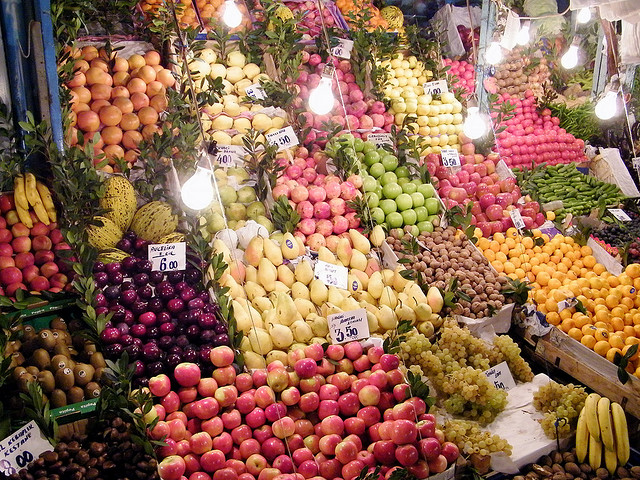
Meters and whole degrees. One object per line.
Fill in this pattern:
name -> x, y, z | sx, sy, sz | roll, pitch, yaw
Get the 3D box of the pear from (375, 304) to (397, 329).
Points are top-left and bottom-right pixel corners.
pear -> 0.532, 0.617, 3.964 | 0.160, 0.186, 0.159 | -9, 10, 30

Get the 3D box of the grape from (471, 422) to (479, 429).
grape -> 1.112, 1.331, 3.548 | 0.039, 0.043, 0.076 | -9, 10, 29

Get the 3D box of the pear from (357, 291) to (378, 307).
pear -> 0.396, 0.483, 4.127 | 0.067, 0.176, 0.090 | -53, 4, 21

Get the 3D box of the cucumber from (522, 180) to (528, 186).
cucumber -> 2.449, -0.686, 5.920 | 0.051, 0.052, 0.014 | 31, -3, 38

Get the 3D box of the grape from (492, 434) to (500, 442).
grape -> 1.243, 1.387, 3.489 | 0.041, 0.055, 0.106 | -10, 10, 22

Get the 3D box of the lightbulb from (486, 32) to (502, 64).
lightbulb -> 1.933, -2.152, 5.533 | 0.168, 0.338, 0.330 | -10, 10, 23

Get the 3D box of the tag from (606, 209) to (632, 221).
tag -> 3.547, -0.299, 5.885 | 0.203, 0.229, 0.031 | -3, -49, -40

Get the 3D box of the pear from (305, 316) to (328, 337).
pear -> -0.023, 0.653, 3.819 | 0.110, 0.122, 0.148 | -33, 48, -12

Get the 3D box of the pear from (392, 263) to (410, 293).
pear -> 0.696, 0.319, 4.272 | 0.114, 0.197, 0.112 | 16, -18, -22

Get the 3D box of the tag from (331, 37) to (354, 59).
tag -> 0.257, -2.137, 5.536 | 0.253, 0.258, 0.068 | 8, 1, -18

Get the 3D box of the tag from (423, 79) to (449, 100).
tag -> 1.337, -1.767, 5.750 | 0.268, 0.187, 0.138 | -12, 9, 13

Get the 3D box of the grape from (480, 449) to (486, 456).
grape -> 1.121, 1.464, 3.402 | 0.030, 0.039, 0.033 | 1, -16, -7

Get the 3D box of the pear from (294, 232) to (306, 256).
pear -> -0.177, 0.044, 4.268 | 0.068, 0.158, 0.069 | -8, -10, -5

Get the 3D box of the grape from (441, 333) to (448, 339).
grape -> 0.993, 0.771, 3.981 | 0.023, 0.033, 0.024 | 14, 11, 21

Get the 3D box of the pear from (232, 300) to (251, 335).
pear -> -0.589, 0.578, 3.744 | 0.103, 0.241, 0.099 | -16, -18, -27

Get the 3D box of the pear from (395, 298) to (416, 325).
pear -> 0.693, 0.606, 4.033 | 0.181, 0.218, 0.129 | -15, 9, -10

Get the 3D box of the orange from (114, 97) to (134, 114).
orange -> -1.753, -1.210, 4.421 | 0.151, 0.144, 0.080 | -37, -10, -42

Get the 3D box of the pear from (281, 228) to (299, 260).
pear -> -0.263, 0.030, 4.192 | 0.100, 0.234, 0.110 | -13, -11, 35

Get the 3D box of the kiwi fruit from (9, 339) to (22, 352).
kiwi fruit -> -1.965, 0.681, 3.191 | 0.047, 0.048, 0.050 | -12, 10, 6

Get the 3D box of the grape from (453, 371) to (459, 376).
grape -> 1.029, 1.010, 3.743 | 0.043, 0.027, 0.024 | -12, 9, 17

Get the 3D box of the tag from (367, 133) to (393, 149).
tag -> 0.645, -1.077, 5.292 | 0.276, 0.171, 0.118 | -21, 11, -37

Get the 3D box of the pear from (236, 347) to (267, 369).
pear -> -0.469, 0.854, 3.568 | 0.156, 0.106, 0.107 | -14, 9, 1

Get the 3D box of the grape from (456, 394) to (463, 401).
grape -> 1.047, 1.184, 3.722 | 0.047, 0.046, 0.025 | -12, 8, 12

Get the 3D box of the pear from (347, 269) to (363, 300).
pear -> 0.279, 0.380, 4.100 | 0.094, 0.202, 0.062 | -12, -22, 5

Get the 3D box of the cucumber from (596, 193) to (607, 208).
cucumber -> 3.365, -0.465, 5.910 | 0.045, 0.213, 0.022 | 14, -18, 48

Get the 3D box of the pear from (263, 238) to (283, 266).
pear -> -0.395, 0.103, 4.174 | 0.114, 0.235, 0.120 | -32, -11, 26

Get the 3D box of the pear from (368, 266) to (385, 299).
pear -> 0.461, 0.371, 4.155 | 0.101, 0.209, 0.100 | -8, -8, -35

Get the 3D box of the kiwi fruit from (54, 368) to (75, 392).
kiwi fruit -> -1.608, 0.876, 3.100 | 0.120, 0.162, 0.123 | 2, -9, -12

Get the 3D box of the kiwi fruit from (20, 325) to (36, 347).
kiwi fruit -> -1.932, 0.631, 3.260 | 0.095, 0.148, 0.118 | -19, 10, -33

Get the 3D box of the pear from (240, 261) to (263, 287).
pear -> -0.569, 0.274, 4.073 | 0.088, 0.230, 0.085 | -12, -29, -42

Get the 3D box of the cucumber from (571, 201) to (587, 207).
cucumber -> 3.121, -0.427, 5.948 | 0.262, 0.049, 0.059 | -19, 10, -25

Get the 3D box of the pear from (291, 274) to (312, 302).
pear -> -0.158, 0.392, 4.035 | 0.097, 0.166, 0.102 | -43, -28, 17

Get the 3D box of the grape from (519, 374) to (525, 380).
grape -> 1.687, 1.141, 4.125 | 0.038, 0.051, 0.013 | -12, 8, 13

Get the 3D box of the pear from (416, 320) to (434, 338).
pear -> 0.856, 0.717, 4.063 | 0.120, 0.133, 0.118 | 6, 10, -5

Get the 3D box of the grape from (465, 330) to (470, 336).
grape -> 1.189, 0.745, 3.991 | 0.023, 0.048, 0.104 | -9, 10, 25

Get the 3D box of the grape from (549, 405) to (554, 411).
grape -> 1.776, 1.286, 3.793 | 0.033, 0.041, 0.020 | -9, 9, 26

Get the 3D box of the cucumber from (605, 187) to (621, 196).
cucumber -> 3.722, -0.617, 6.286 | 0.312, 0.064, 0.085 | -22, 12, -39

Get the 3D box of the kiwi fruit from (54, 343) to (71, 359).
kiwi fruit -> -1.678, 0.715, 3.214 | 0.077, 0.106, 0.060 | -29, -4, 26

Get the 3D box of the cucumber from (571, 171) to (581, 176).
cucumber -> 3.337, -0.868, 6.455 | 0.181, 0.054, 0.050 | -7, 9, -20

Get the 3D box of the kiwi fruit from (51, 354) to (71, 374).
kiwi fruit -> -1.653, 0.787, 3.158 | 0.095, 0.118, 0.096 | -1, -23, -27
